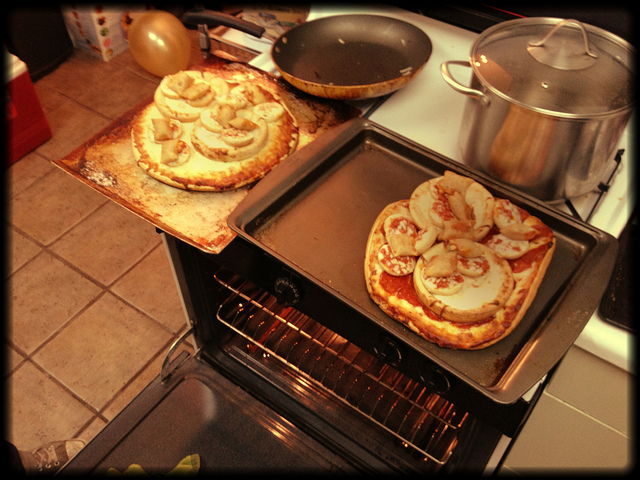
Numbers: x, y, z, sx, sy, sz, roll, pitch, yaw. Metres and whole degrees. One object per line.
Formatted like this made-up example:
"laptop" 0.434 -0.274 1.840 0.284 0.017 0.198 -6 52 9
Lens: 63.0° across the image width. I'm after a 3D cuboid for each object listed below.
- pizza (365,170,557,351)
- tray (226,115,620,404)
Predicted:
"pizza" 0.297 0.032 1.173 0.382 0.066 0.401 33 70 17
"tray" 0.207 0.008 1.190 0.743 0.076 0.484 32 73 19
